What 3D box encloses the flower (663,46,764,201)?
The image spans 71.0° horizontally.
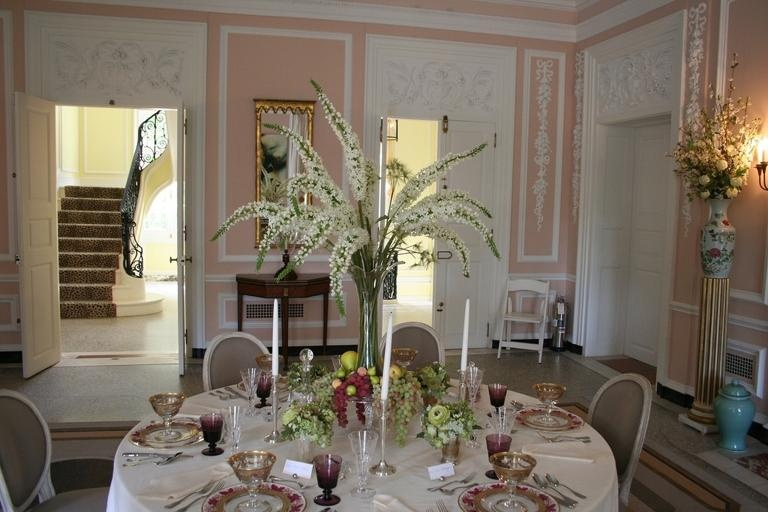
[{"bbox_3d":[3.056,-1.203,5.015,0.603,1.370,0.711,-2,4,-37],"label":"flower"}]

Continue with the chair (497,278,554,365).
[{"bbox_3d":[1.845,0.800,7.064,0.558,0.996,0.538,4,4,21],"label":"chair"}]

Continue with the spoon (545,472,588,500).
[{"bbox_3d":[0.888,1.140,2.659,0.058,0.050,0.284,-9,13,-21],"label":"spoon"}]

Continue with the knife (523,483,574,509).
[{"bbox_3d":[0.834,1.154,2.626,0.060,0.034,0.227,-8,3,-15],"label":"knife"}]

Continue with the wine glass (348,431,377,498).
[{"bbox_3d":[-0.109,0.993,2.700,0.123,0.317,0.253,0,3,-3],"label":"wine glass"}]

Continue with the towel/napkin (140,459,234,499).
[{"bbox_3d":[-0.966,1.106,2.642,0.334,0.031,0.149,-3,14,-39],"label":"towel/napkin"}]

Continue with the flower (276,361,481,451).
[{"bbox_3d":[-0.087,0.770,2.884,0.675,0.261,0.566,5,-4,-43],"label":"flower"}]

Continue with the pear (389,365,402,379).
[{"bbox_3d":[0.062,0.630,2.916,0.058,0.063,0.057,-3,28,12],"label":"pear"}]

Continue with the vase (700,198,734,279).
[{"bbox_3d":[3.126,-0.162,4.977,0.364,0.715,0.220,-2,4,-30],"label":"vase"}]

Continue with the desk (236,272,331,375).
[{"bbox_3d":[-1.180,0.657,6.520,1.180,1.185,0.966,-1,1,-23],"label":"desk"}]

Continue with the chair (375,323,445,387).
[{"bbox_3d":[0.219,0.738,4.194,0.360,0.610,0.434,1,-8,-1],"label":"chair"}]

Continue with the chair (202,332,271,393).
[{"bbox_3d":[-1.116,0.692,3.951,0.445,0.641,0.448,1,0,-22],"label":"chair"}]

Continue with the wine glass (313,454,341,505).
[{"bbox_3d":[-0.273,1.052,2.588,0.124,0.241,0.152,0,3,-9],"label":"wine glass"}]

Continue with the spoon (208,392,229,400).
[{"bbox_3d":[-1.052,0.887,3.438,0.047,0.017,0.157,-2,5,-34],"label":"spoon"}]

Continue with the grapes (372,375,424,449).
[{"bbox_3d":[0.080,0.758,2.994,0.262,0.191,0.342,8,15,14],"label":"grapes"}]

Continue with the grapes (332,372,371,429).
[{"bbox_3d":[-0.176,0.779,2.948,0.217,0.294,0.150,2,-9,-7],"label":"grapes"}]

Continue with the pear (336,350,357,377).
[{"bbox_3d":[-0.217,0.624,3.098,0.116,0.158,0.128,1,-30,-11],"label":"pear"}]

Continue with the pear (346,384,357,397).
[{"bbox_3d":[-0.179,0.737,2.948,0.045,0.060,0.046,36,-3,-8],"label":"pear"}]

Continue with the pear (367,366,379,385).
[{"bbox_3d":[-0.061,0.659,2.954,0.050,0.063,0.119,4,30,-28],"label":"pear"}]

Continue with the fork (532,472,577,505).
[{"bbox_3d":[0.828,1.148,2.643,0.071,0.030,0.174,-4,14,-22],"label":"fork"}]

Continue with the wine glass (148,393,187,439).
[{"bbox_3d":[-1.216,0.868,3.024,0.212,0.217,0.213,-6,10,-31],"label":"wine glass"}]

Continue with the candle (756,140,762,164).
[{"bbox_3d":[3.347,-0.935,4.781,0.039,0.202,0.101,2,4,27],"label":"candle"}]

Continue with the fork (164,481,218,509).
[{"bbox_3d":[-0.914,1.146,2.575,0.071,0.040,0.273,33,32,32],"label":"fork"}]
